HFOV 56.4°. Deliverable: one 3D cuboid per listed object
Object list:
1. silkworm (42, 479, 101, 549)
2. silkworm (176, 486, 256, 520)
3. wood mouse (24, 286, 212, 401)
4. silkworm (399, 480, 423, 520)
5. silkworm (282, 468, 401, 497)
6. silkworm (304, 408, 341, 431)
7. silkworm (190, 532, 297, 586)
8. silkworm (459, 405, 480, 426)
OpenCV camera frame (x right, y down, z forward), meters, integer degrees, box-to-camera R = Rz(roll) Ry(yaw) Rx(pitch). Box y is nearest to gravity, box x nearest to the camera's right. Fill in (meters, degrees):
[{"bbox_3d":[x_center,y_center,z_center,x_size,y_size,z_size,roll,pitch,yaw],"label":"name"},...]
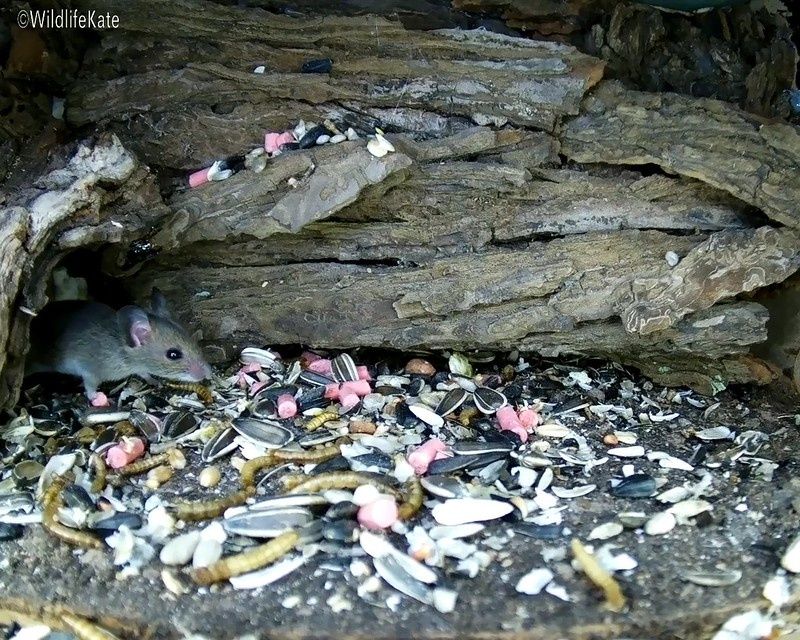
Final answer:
[{"bbox_3d":[-1.345,0.780,2.998,0.152,0.120,0.462,-18,27,-32],"label":"silkworm"},{"bbox_3d":[-0.736,0.742,3.007,0.331,0.069,0.118,-6,24,-14],"label":"silkworm"},{"bbox_3d":[-1.462,0.140,3.926,0.748,0.339,0.569,-17,31,-31],"label":"wood mouse"},{"bbox_3d":[0.052,0.709,2.943,0.057,0.044,0.196,10,28,14],"label":"silkworm"},{"bbox_3d":[-0.246,0.659,3.002,0.491,0.092,0.157,5,24,13],"label":"silkworm"},{"bbox_3d":[-0.365,0.462,3.466,0.081,0.029,0.132,11,31,37],"label":"silkworm"},{"bbox_3d":[-0.554,0.893,2.782,0.404,0.109,0.071,-10,28,-24],"label":"silkworm"},{"bbox_3d":[0.335,0.448,3.488,0.072,0.029,0.101,10,23,-4],"label":"silkworm"}]
